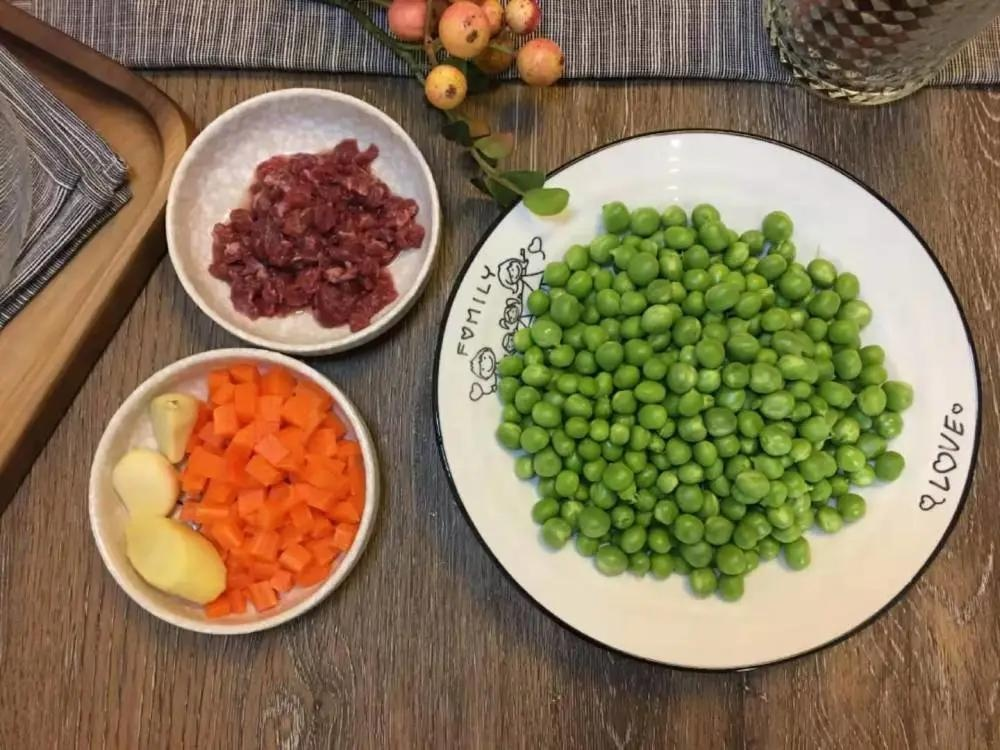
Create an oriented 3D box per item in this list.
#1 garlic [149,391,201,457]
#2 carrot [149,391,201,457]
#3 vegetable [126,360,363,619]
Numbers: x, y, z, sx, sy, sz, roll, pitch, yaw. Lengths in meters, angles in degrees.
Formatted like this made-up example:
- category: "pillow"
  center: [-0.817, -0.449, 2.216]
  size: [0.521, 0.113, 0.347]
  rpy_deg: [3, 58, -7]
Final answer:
- category: "garlic"
  center: [-0.713, 0.115, 2.478]
  size: [0.095, 0.064, 0.181]
  rpy_deg: [3, 46, -9]
- category: "carrot"
  center: [-0.709, 0.116, 2.479]
  size: [0.092, 0.062, 0.173]
  rpy_deg: [-6, 48, -1]
- category: "vegetable"
  center: [-0.520, 0.255, 2.557]
  size: [0.491, 0.205, 0.545]
  rpy_deg: [-37, 86, 4]
